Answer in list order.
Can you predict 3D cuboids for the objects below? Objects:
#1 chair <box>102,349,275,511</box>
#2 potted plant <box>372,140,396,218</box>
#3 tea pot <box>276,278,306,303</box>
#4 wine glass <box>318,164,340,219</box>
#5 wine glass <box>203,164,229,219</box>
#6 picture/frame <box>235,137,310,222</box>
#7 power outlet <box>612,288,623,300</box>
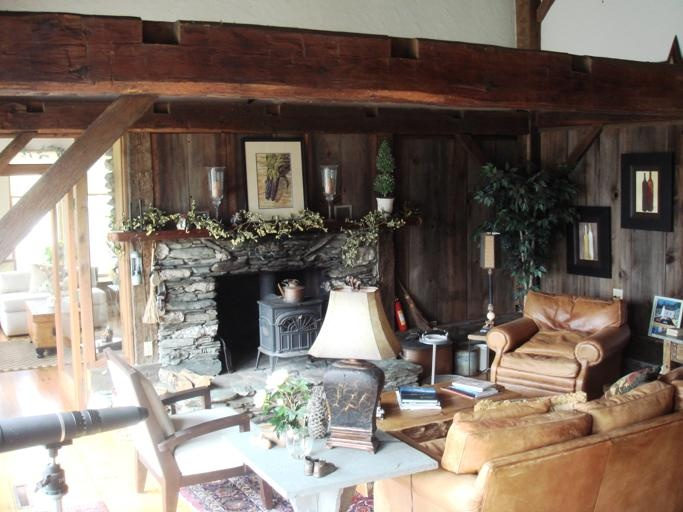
[{"bbox_3d":[-1.092,1.159,3.695,0.927,1.088,0.698,-4,3,-7],"label":"chair"},{"bbox_3d":[0.499,-0.892,6.244,0.262,0.863,0.349,-4,3,4],"label":"potted plant"},{"bbox_3d":[-0.536,0.351,5.836,0.291,0.238,0.222,2,4,20],"label":"tea pot"},{"bbox_3d":[-0.105,-0.709,5.982,0.206,0.611,0.390,-4,3,-1],"label":"wine glass"},{"bbox_3d":[-1.246,-0.639,5.512,0.195,0.523,0.340,-5,3,-11],"label":"wine glass"},{"bbox_3d":[-0.762,-0.802,5.765,0.896,1.022,0.081,-6,7,-22],"label":"picture/frame"},{"bbox_3d":[3.092,0.421,6.133,0.012,0.111,0.117,-1,1,-25],"label":"power outlet"}]
